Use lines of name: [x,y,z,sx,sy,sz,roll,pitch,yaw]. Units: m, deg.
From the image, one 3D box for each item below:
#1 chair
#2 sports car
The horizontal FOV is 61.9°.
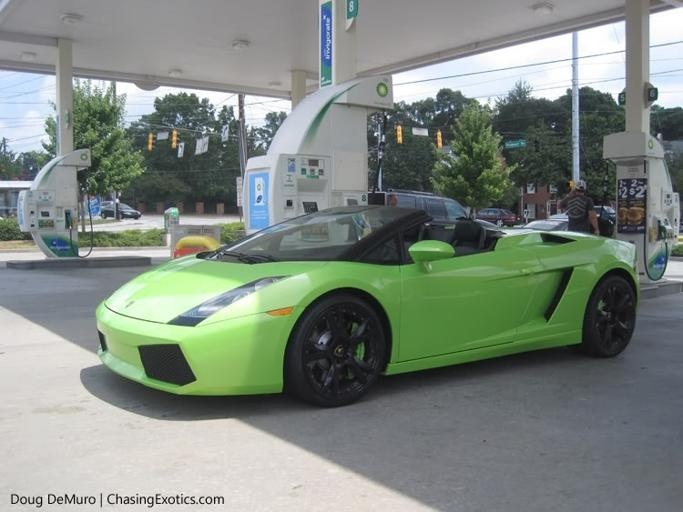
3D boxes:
chair: [0.869,-0.186,5.333,0.801,0.439,0.492,2,-1,-22]
sports car: [0.536,0.285,5.551,5.380,1.541,1.746,-3,7,-28]
